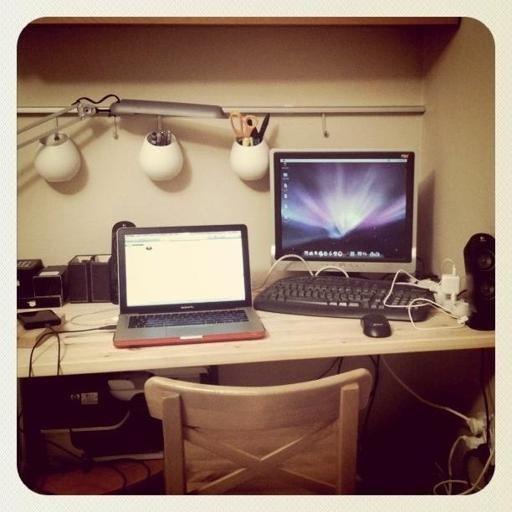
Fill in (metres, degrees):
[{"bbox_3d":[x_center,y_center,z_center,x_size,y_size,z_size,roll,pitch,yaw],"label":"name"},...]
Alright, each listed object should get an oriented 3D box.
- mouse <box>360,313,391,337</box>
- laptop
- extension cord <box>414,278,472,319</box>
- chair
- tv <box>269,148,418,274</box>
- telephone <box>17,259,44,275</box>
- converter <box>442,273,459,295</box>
[{"bbox_3d":[0.268,0.148,1.077,0.033,0.015,0.062,0,21,3],"label":"mouse"},{"bbox_3d":[-0.156,0.047,1.127,0.356,0.235,0.341,-1,5,-3],"label":"laptop"},{"bbox_3d":[0.469,0.101,1.201,0.059,0.100,0.138,1,-3,-40],"label":"extension cord"},{"bbox_3d":[0.022,0.363,0.992,0.395,0.298,0.428,-1,-5,6],"label":"chair"},{"bbox_3d":[0.257,-0.138,1.370,0.309,0.304,0.027,0,4,3],"label":"tv"},{"bbox_3d":[-0.626,0.031,1.324,0.040,0.015,0.059,3,26,-7],"label":"telephone"},{"bbox_3d":[0.474,0.068,1.178,0.040,0.048,0.045,1,6,24],"label":"converter"}]
